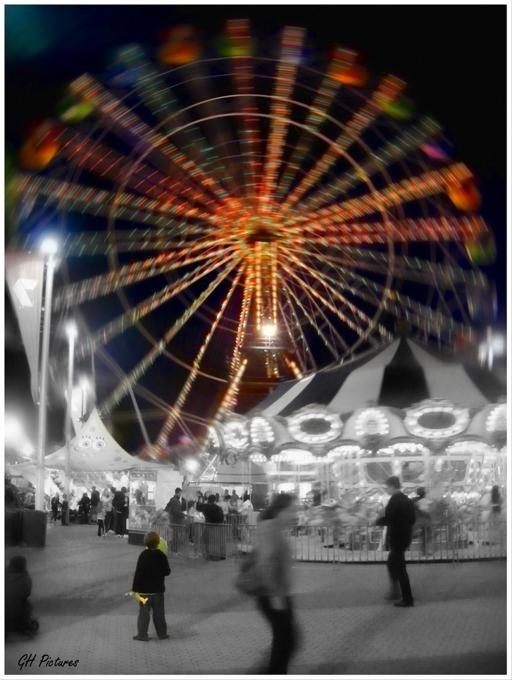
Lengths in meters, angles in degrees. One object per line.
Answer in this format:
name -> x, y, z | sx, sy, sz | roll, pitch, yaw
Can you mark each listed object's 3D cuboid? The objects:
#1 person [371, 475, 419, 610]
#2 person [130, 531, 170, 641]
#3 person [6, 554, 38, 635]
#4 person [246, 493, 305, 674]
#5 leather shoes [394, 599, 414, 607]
person -> 1.987, 2.809, 8.504 | 0.545, 1.708, 1.204 | -3, -10, 13
person -> -1.117, 2.579, 6.351 | 0.372, 1.083, 0.377 | 1, -10, -8
person -> -2.404, 2.628, 6.129 | 0.330, 0.871, 0.630 | 3, -11, -19
person -> 0.140, 1.826, 4.474 | 0.327, 1.322, 0.345 | -1, -10, 2
leather shoes -> 1.961, 3.467, 7.962 | 0.251, 0.078, 0.244 | -3, -11, 13
